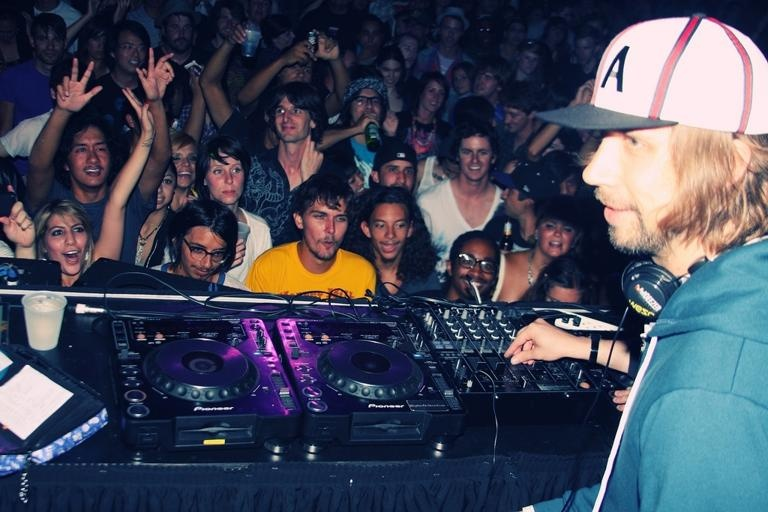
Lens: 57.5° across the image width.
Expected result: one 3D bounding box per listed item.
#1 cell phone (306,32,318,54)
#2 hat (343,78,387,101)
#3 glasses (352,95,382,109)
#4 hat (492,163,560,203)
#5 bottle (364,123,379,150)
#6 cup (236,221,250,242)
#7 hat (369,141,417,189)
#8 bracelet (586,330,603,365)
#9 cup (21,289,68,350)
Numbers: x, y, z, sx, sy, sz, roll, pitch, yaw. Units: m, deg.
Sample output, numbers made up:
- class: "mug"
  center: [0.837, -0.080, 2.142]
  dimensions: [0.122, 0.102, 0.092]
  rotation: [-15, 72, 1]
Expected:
- class: "cell phone"
  center: [-0.505, -1.518, 4.969]
  dimensions: [0.079, 0.180, 0.126]
  rotation: [5, 4, -8]
- class: "hat"
  center: [-0.135, -1.205, 4.968]
  dimensions: [0.228, 0.109, 0.184]
  rotation: [-23, 9, -36]
- class: "glasses"
  center: [-0.107, -1.098, 4.940]
  dimensions: [0.236, 0.065, 0.049]
  rotation: [4, 4, -12]
- class: "hat"
  center: [0.969, -0.497, 4.828]
  dimensions: [0.367, 0.177, 0.243]
  rotation: [21, 17, 4]
- class: "bottle"
  center: [-0.086, -0.812, 4.765]
  dimensions: [0.079, 0.241, 0.074]
  rotation: [-6, -38, -4]
- class: "cup"
  center: [-0.804, -0.146, 4.026]
  dimensions: [0.090, 0.069, 0.095]
  rotation: [9, 33, -6]
- class: "hat"
  center: [0.070, -0.614, 4.654]
  dimensions: [0.288, 0.331, 0.351]
  rotation: [7, -36, 0]
- class: "bracelet"
  center: [0.731, 0.329, 2.450]
  dimensions: [0.057, 0.087, 0.091]
  rotation: [7, -2, 17]
- class: "cup"
  center: [-1.100, 0.220, 2.269]
  dimensions: [0.127, 0.144, 0.136]
  rotation: [7, 14, -2]
